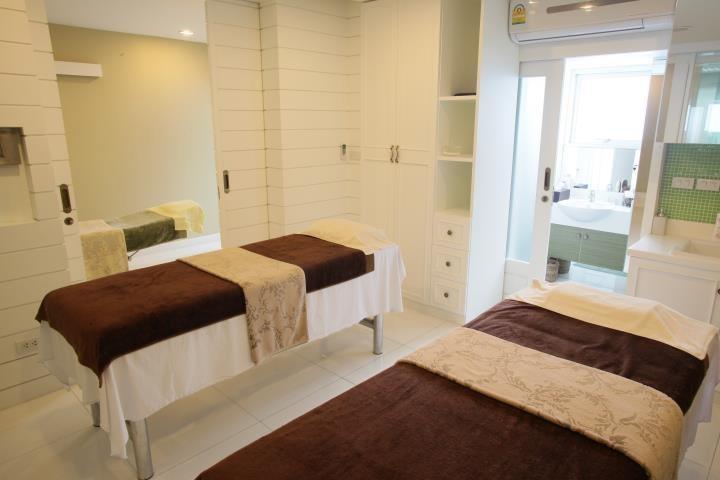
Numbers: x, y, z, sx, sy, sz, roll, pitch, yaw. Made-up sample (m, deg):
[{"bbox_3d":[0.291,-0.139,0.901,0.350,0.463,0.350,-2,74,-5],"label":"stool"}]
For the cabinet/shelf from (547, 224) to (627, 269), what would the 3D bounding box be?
[{"bbox_3d":[2.229,-0.060,4.631,0.686,0.326,0.373,13,39,34],"label":"cabinet/shelf"}]

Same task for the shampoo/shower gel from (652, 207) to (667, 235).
[{"bbox_3d":[2.578,-0.157,4.075,0.089,0.210,0.096,-12,21,-29],"label":"shampoo/shower gel"}]
